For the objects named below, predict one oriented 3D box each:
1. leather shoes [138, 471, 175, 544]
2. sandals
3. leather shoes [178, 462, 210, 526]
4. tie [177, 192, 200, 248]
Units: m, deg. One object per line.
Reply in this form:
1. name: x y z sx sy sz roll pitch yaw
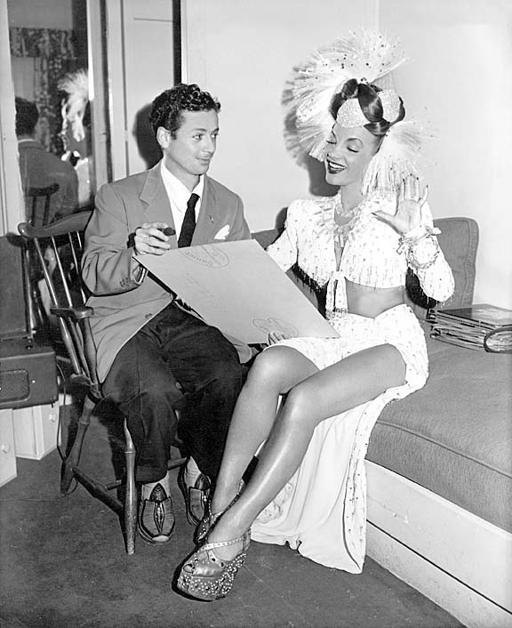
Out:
1. leather shoes: -0.254 0.508 1.418 0.061 0.080 0.188 0 27 -14
2. sandals: -0.077 0.483 1.177 0.107 0.088 0.285 20 57 8
3. leather shoes: -0.181 0.489 1.540 0.057 0.185 0.067 1 -24 -33
4. tie: -0.190 -0.253 1.520 0.044 0.190 0.009 11 -1 3
